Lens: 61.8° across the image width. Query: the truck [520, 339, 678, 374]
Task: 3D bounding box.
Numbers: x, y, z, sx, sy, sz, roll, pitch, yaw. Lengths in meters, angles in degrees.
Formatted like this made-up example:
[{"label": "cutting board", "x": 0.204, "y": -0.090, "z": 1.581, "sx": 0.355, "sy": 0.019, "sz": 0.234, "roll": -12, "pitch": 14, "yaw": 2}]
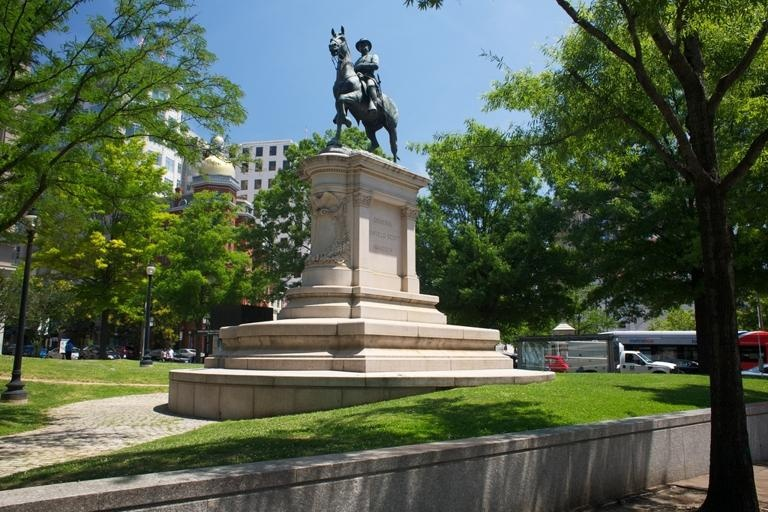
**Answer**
[{"label": "truck", "x": 12.556, "y": 5.964, "z": 37.925, "sx": 9.649, "sy": 2.581, "sz": 2.566, "roll": -5, "pitch": -9, "yaw": 23}]
